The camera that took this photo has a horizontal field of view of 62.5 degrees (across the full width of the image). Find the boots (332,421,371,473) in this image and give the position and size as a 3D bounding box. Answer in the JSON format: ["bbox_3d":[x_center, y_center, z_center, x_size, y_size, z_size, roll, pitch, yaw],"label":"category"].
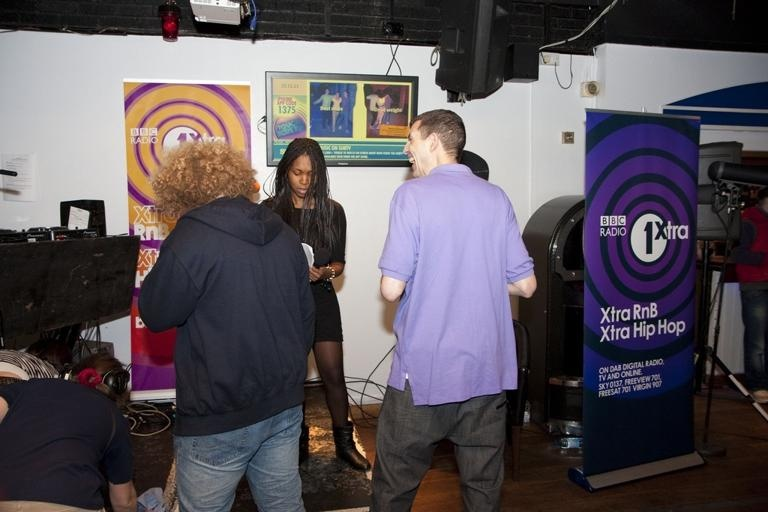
[{"bbox_3d":[-0.233,1.405,4.691,0.133,0.273,0.367,-12,11,-37],"label":"boots"}]

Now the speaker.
[{"bbox_3d":[2.780,-0.540,5.269,0.314,0.804,0.594,1,8,29],"label":"speaker"}]
